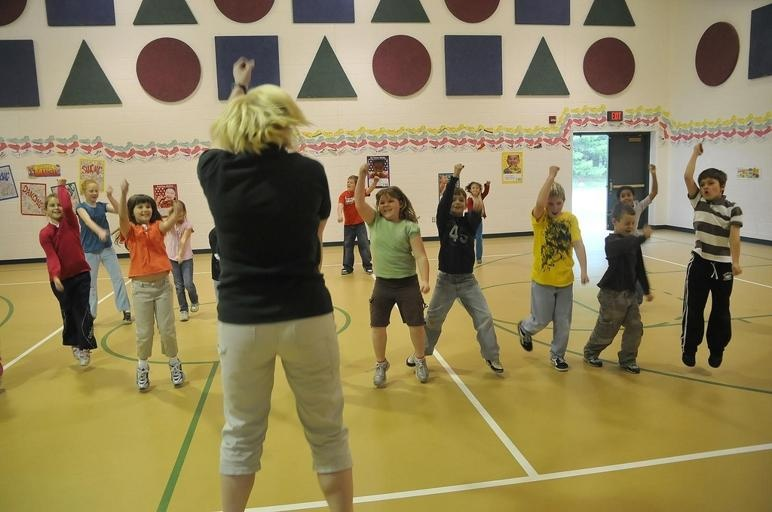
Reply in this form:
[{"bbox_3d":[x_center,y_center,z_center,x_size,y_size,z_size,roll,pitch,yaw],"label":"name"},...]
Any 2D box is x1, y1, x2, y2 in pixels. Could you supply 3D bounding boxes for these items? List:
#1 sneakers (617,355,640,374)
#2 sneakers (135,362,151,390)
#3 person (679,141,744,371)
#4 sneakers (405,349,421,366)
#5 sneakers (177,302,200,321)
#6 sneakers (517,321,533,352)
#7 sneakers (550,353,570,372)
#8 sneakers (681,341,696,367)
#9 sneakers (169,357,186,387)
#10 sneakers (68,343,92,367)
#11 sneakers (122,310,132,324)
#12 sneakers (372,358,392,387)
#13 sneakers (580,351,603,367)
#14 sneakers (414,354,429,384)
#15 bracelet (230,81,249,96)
[{"bbox_3d":[2.844,1.251,6.409,0.124,0.130,0.299,-3,5,-8],"label":"sneakers"},{"bbox_3d":[-2.818,1.383,6.363,0.130,0.175,0.409,-6,44,-19],"label":"sneakers"},{"bbox_3d":[3.745,0.007,6.368,0.626,2.569,0.568,5,10,29],"label":"person"},{"bbox_3d":[0.304,1.240,6.661,0.101,0.209,0.215,8,35,-16],"label":"sneakers"},{"bbox_3d":[-3.056,0.842,8.479,0.129,0.161,0.399,7,13,-7],"label":"sneakers"},{"bbox_3d":[1.701,0.982,6.780,0.157,0.459,0.188,-19,23,-16],"label":"sneakers"},{"bbox_3d":[2.065,1.246,6.547,0.109,0.117,0.264,0,5,-8],"label":"sneakers"},{"bbox_3d":[3.531,1.128,6.396,0.162,0.269,0.269,-1,-7,4],"label":"sneakers"},{"bbox_3d":[-2.467,1.366,6.523,0.129,0.172,0.390,-3,3,-12],"label":"sneakers"},{"bbox_3d":[-3.850,1.238,6.896,0.158,0.197,0.443,6,11,-26],"label":"sneakers"},{"bbox_3d":[-3.875,0.914,8.287,0.118,0.208,0.198,3,-12,-25],"label":"sneakers"},{"bbox_3d":[-0.060,1.346,6.313,0.123,0.155,0.357,-1,53,10],"label":"sneakers"},{"bbox_3d":[2.465,1.201,6.591,0.116,0.112,0.258,0,15,-18],"label":"sneakers"},{"bbox_3d":[0.412,1.277,6.400,0.110,0.345,0.141,-7,-28,-5],"label":"sneakers"},{"bbox_3d":[-1.190,-1.368,4.478,0.124,0.132,0.128,3,5,37],"label":"bracelet"}]
